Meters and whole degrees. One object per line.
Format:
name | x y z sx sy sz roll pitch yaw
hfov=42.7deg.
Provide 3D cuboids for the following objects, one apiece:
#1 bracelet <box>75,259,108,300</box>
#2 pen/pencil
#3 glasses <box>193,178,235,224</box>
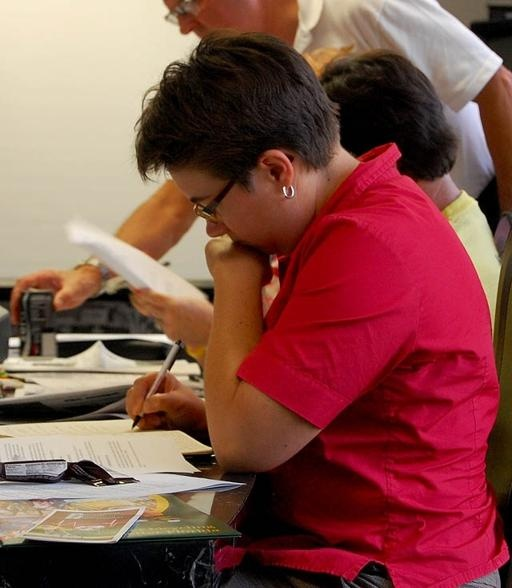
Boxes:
bracelet | -0.365 -0.030 1.413 0.042 0.075 0.093 -48 -3 -11
pen/pencil | -0.175 0.160 1.141 0.153 0.020 0.017 -51 -26 -15
glasses | -0.050 -0.104 0.746 0.046 0.014 0.034 -44 5 -6
